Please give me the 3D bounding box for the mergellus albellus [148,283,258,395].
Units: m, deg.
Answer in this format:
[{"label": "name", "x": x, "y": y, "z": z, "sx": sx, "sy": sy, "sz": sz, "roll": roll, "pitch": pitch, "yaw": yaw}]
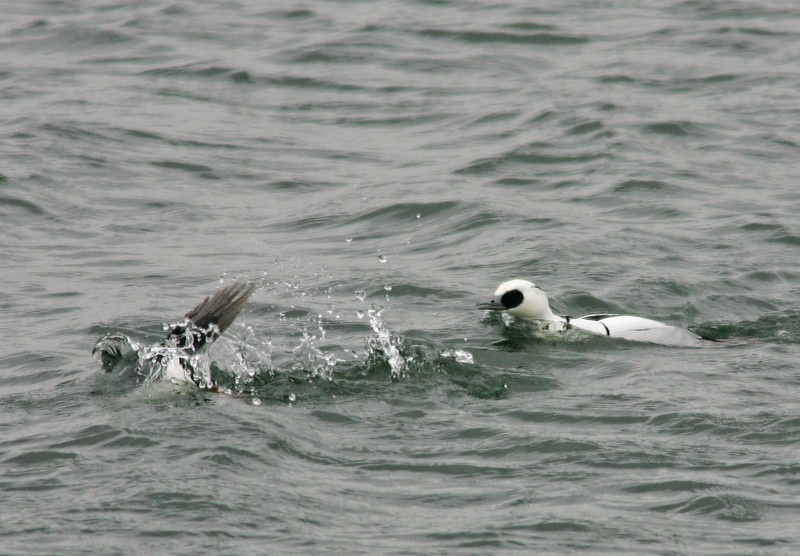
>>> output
[{"label": "mergellus albellus", "x": -1.929, "y": 0.544, "z": 10.562, "sx": 0.644, "sy": 0.821, "sz": 1.253, "roll": 14, "pitch": 40, "yaw": 22}]
